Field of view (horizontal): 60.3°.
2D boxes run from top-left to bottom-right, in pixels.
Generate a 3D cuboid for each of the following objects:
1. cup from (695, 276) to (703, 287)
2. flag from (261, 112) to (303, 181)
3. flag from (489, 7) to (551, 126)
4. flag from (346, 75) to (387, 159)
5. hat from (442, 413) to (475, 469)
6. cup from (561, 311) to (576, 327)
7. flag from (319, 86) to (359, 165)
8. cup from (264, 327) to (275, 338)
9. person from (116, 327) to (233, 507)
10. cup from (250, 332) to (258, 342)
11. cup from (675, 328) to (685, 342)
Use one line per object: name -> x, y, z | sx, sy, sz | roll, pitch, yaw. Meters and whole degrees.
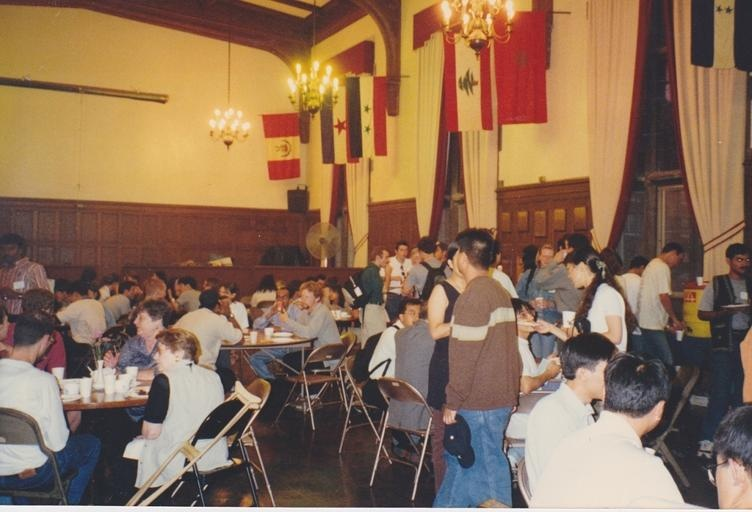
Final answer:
cup -> 4.348, 0.342, 8.711 | 0.131, 0.130, 0.110 | -6, 8, -27
flag -> -2.540, -2.957, 17.372 | 0.940, 1.741, 0.428 | 2, 8, 11
flag -> 2.387, -3.068, 10.726 | 0.899, 1.841, 0.070 | 6, 17, 34
flag -> -0.206, -2.829, 13.186 | 0.814, 1.610, 0.299 | 1, 7, 4
hat -> 0.764, 1.683, 5.913 | 0.116, 0.449, 0.297 | -5, -20, -42
cup -> 2.134, 0.694, 7.130 | 0.155, 0.189, 0.160 | 0, -3, 0
flag -> -0.751, -2.755, 13.478 | 0.128, 1.905, 1.329 | -12, 17, -44
cup -> -1.537, 1.096, 9.316 | 0.119, 0.096, 0.113 | 2, 7, 0
person -> -1.966, 1.614, 6.392 | 0.964, 1.735, 0.587 | -2, 8, -17
cup -> -1.691, 1.122, 9.007 | 0.118, 0.149, 0.121 | 1, 2, 0
cup -> 4.153, 1.076, 8.817 | 0.145, 0.168, 0.142 | 0, -2, 0
